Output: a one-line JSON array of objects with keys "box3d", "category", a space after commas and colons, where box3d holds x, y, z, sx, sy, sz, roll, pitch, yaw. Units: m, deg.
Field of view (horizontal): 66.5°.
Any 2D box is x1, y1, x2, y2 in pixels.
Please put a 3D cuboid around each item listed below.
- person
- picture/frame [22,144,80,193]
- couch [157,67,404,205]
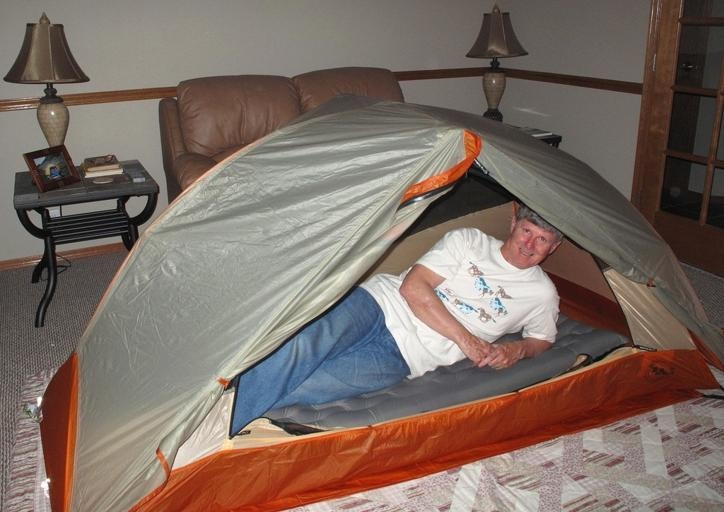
[{"box3d": [0.118, 0.341, 2.420, 1.612, 0.510, 0.849, -22, 28, 0], "category": "person"}, {"box3d": [-1.797, -0.491, 3.167, 0.040, 0.284, 0.309, -10, 18, 46], "category": "picture/frame"}, {"box3d": [-0.728, -0.840, 4.259, 2.144, 0.914, 0.933, -14, 20, -38], "category": "couch"}]
